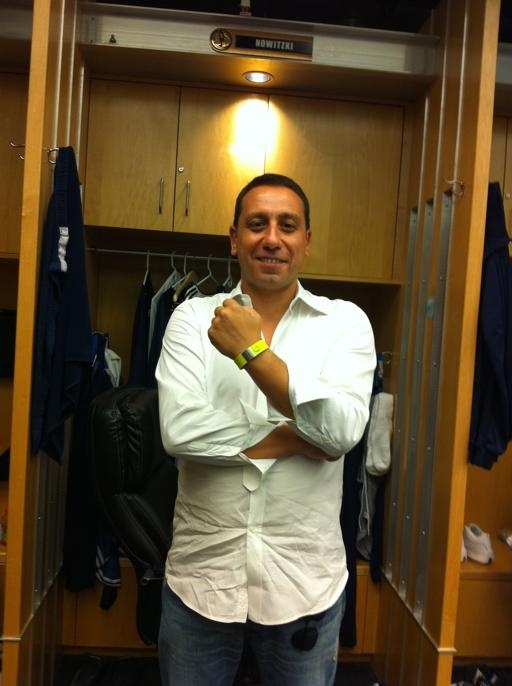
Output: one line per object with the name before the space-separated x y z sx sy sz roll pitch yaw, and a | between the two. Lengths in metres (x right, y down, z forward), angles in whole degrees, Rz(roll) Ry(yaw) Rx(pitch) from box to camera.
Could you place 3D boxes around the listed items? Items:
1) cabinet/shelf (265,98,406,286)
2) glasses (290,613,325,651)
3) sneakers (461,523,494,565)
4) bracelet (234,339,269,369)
cabinet/shelf | 0.345 -0.565 2.822 0.488 0.905 0.419 5 -24 6
glasses | 0.112 0.655 1.384 0.042 0.086 0.046 8 -38 34
sneakers | 0.984 0.895 2.735 0.082 0.074 0.174 -2 26 -9
bracelet | -0.011 0.022 1.320 0.049 0.067 0.058 -23 -48 25
